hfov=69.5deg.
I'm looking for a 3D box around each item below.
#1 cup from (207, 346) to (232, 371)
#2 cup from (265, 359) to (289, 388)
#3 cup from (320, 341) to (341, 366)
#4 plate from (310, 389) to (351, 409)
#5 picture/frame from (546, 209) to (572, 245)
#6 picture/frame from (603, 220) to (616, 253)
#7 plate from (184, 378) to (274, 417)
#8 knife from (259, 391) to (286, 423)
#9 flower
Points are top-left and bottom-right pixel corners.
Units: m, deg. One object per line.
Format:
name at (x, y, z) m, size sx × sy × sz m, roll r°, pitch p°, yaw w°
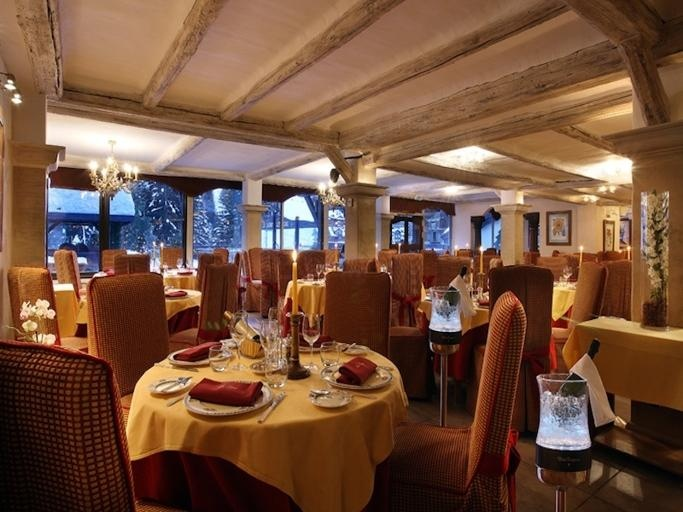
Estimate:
cup at (-0.626, 0.531, 2.556) m, size 0.121 × 0.115 × 0.105 m, roll 5°, pitch -3°, yaw -32°
cup at (-0.304, 0.548, 2.327) m, size 0.117 × 0.130 × 0.123 m, roll 0°, pitch -2°, yaw 0°
cup at (-0.060, 0.522, 2.643) m, size 0.113 × 0.136 × 0.116 m, roll -3°, pitch 1°, yaw 0°
plate at (-0.051, 0.650, 2.237) m, size 0.188 × 0.048 × 0.144 m, roll 0°, pitch 1°, yaw -3°
picture/frame at (5.790, -0.772, 13.176) m, size 0.077 × 1.116 × 0.898 m, roll 5°, pitch -4°, yaw -28°
picture/frame at (6.901, -0.515, 12.831) m, size 0.079 × 1.146 × 0.946 m, roll -2°, pitch -1°, yaw 39°
plate at (-0.505, 0.635, 2.221) m, size 0.392 × 0.117 × 0.233 m, roll 0°, pitch 1°, yaw -9°
knife at (-0.303, 0.669, 2.184) m, size 0.033 × 0.011 × 0.213 m, roll 5°, pitch 11°, yaw 11°
flower at (2.202, 0.013, 3.493) m, size 0.173 × 0.959 × 0.278 m, roll 1°, pitch 2°, yaw 33°
